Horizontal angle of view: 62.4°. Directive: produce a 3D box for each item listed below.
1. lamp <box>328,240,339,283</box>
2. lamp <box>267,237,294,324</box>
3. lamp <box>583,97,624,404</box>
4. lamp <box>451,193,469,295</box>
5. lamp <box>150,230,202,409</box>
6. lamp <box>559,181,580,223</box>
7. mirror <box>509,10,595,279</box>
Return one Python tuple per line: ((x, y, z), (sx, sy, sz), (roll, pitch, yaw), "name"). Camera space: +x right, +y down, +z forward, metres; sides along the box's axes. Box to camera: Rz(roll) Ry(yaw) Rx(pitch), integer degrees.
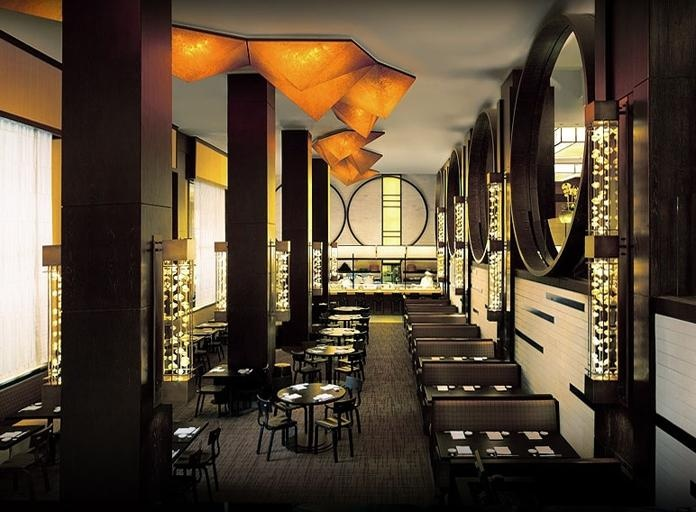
((-0.544, 0.216, 20.245), (0.238, 1.390, 0.642), (0, 5, -2), "lamp")
((-1.312, 0.441, 10.762), (0.415, 1.544, 0.325), (1, -4, 32), "lamp")
((2.541, -0.043, 5.753), (0.335, 2.946, 0.467), (1, 5, 9), "lamp")
((2.696, -0.217, 13.839), (0.332, 2.408, 0.897), (1, 5, 11), "lamp")
((-1.716, 0.619, 5.666), (0.406, 1.608, 0.351), (-1, 5, -16), "lamp")
((3.503, -0.879, 9.135), (0.230, 0.513, 0.220), (21, -23, -37), "lamp")
((2.695, -1.404, 7.709), (0.686, 3.369, 2.781), (1, 5, 8), "mirror")
